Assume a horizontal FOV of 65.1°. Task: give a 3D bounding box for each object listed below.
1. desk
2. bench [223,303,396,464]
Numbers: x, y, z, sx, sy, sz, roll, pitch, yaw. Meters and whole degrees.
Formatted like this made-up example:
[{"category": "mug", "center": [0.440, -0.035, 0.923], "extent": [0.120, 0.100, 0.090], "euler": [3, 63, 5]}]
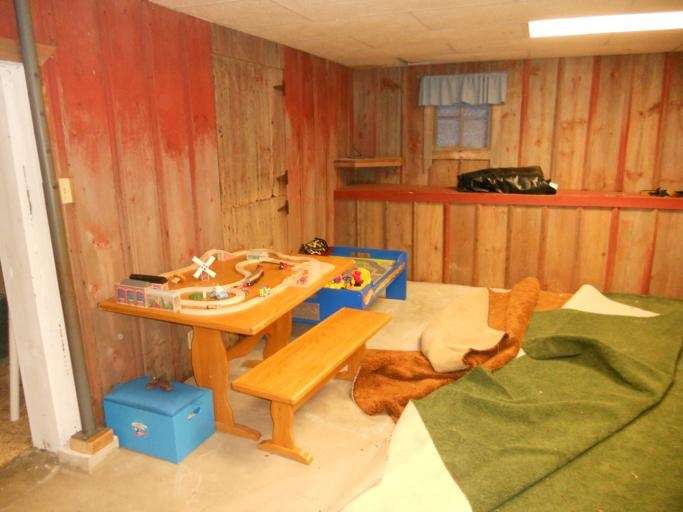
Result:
[{"category": "desk", "center": [-0.532, 0.353, 3.936], "extent": [1.544, 1.022, 2.371], "euler": [4, 11, 23]}, {"category": "bench", "center": [-0.236, 0.942, 3.826], "extent": [0.381, 0.319, 1.169], "euler": [5, 12, 22]}]
